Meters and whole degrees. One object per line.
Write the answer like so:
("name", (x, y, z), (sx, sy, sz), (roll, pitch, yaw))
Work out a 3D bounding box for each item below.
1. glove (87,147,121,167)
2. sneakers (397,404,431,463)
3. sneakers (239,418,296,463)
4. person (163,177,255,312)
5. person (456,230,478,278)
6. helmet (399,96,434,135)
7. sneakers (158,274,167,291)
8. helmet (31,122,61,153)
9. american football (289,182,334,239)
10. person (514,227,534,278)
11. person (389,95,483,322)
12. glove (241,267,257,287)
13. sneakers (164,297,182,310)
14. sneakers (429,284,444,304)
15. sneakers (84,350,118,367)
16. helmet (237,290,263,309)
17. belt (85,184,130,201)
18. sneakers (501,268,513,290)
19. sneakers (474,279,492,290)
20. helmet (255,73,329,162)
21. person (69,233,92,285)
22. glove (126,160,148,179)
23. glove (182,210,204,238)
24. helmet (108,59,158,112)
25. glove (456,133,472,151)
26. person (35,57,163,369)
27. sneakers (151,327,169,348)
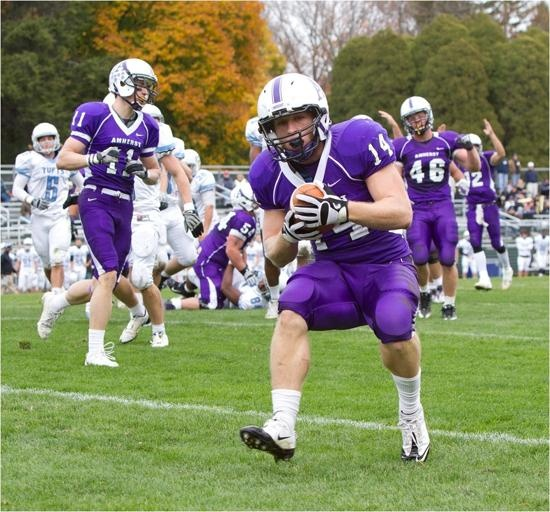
("glove", (-1.237, -0.715, 6.517), (0.156, 0.077, 0.128), (-7, 24, 5))
("sneakers", (0.738, 0.933, 4.811), (0.156, 0.261, 0.166), (1, 5, 8))
("sneakers", (-0.011, 0.895, 4.606), (0.125, 0.214, 0.365), (0, -23, 42))
("person", (-0.807, -0.099, 10.745), (1.225, 1.886, 0.874), (-2, 29, -20))
("person", (4.513, 0.056, 21.034), (0.424, 1.355, 0.416), (-7, 29, 2))
("helmet", (1.498, -1.491, 9.579), (0.280, 0.353, 0.381), (-17, 3, 15))
("sneakers", (-1.499, 0.324, 12.090), (0.115, 0.175, 0.373), (2, 22, -4))
("helmet", (-2.676, -1.368, 10.559), (0.288, 0.357, 0.377), (-6, -4, -18))
("american football", (0.173, -0.270, 4.735), (0.215, 0.207, 0.175), (4, -2, 26))
("person", (5.736, -0.090, 20.777), (0.373, 1.071, 1.638), (2, 5, 16))
("person", (1.577, -0.495, 9.441), (1.091, 2.359, 0.934), (-4, -5, -8))
("glove", (-0.277, 0.205, 10.062), (0.088, 0.232, 0.126), (-8, -21, -37))
("sneakers", (-1.246, 0.561, 10.947), (0.170, 0.077, 0.113), (-5, -27, 31))
("sneakers", (2.117, 0.486, 11.819), (0.165, 0.244, 0.536), (-2, -12, 5))
("sneakers", (-1.313, 0.774, 6.882), (0.307, 0.156, 0.116), (-1, -2, 15))
("helmet", (-0.301, 0.532, 11.202), (0.256, 0.290, 0.211), (-6, 10, -13))
("belt", (-1.258, -0.486, 6.850), (0.169, 0.051, 0.154), (18, 6, -25))
("sneakers", (3.556, 0.345, 13.883), (0.128, 0.332, 0.101), (13, -11, -16))
("sneakers", (2.994, 0.413, 13.049), (0.136, 0.196, 0.399), (-23, -19, 24))
("helmet", (0.118, -0.781, 5.025), (0.377, 0.485, 0.531), (-15, 8, 14))
("person", (-4.052, 0.239, 18.862), (0.459, 1.418, 0.390), (-6, 28, -23))
("glove", (-1.031, -0.646, 6.763), (0.127, 0.109, 0.069), (12, 39, 27))
("glove", (-0.631, -0.239, 6.908), (0.159, 0.204, 0.052), (-32, 8, -29))
("helmet", (-1.062, -1.305, 6.978), (0.373, 0.426, 0.316), (-2, 2, 7))
("glove", (1.945, -1.173, 9.294), (0.162, 0.088, 0.117), (39, -43, -18))
("person", (-1.281, -0.362, 7.140), (0.731, 2.342, 1.303), (0, 5, -8))
("sneakers", (-0.989, 0.692, 7.740), (0.106, 0.094, 0.202), (-2, -12, -7))
